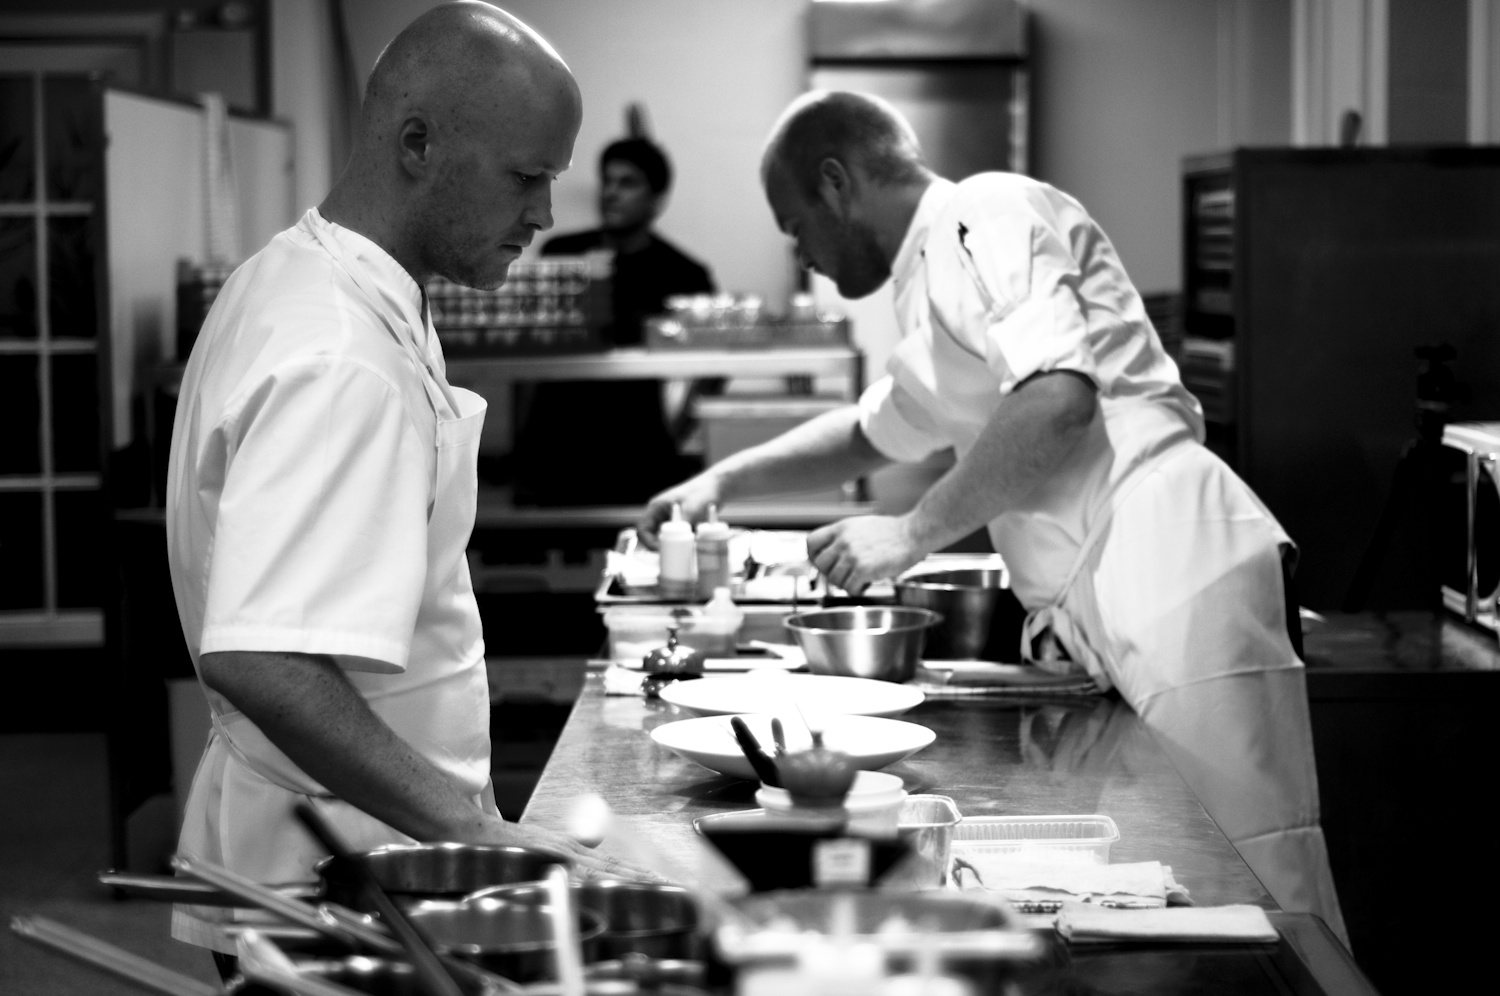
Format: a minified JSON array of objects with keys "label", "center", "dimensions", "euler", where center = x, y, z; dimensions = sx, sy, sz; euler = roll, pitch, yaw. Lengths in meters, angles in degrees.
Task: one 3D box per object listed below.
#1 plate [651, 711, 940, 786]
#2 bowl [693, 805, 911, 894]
[{"label":"plate","center":[0.087,0.482,4.604],"dimensions":[0.555,0.137,0.285],"euler":[0,6,3]},{"label":"bowl","center":[0.066,0.602,4.004],"dimensions":[0.330,0.126,0.379],"euler":[1,-4,-7]}]
